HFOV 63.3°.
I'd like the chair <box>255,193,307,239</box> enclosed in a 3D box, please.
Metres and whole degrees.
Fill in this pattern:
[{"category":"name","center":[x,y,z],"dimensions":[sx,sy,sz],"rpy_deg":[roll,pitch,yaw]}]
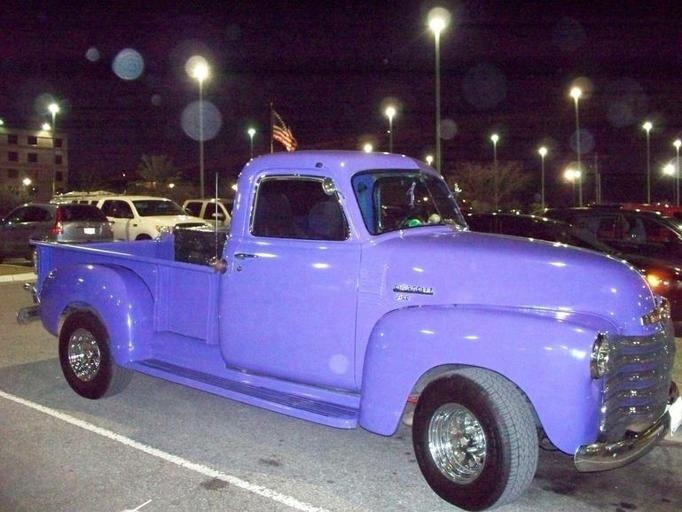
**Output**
[{"category":"chair","center":[-0.631,-0.387,5.947],"dimensions":[0.382,0.665,0.518],"rpy_deg":[2,-2,-5]}]

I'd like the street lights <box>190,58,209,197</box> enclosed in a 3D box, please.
[{"category":"street lights","center":[-6.736,-5.741,25.567],"dimensions":[0.846,6.790,0.958],"rpy_deg":[9,20,9]}]

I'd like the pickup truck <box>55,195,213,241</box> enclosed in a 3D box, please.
[{"category":"pickup truck","center":[-6.838,-1.226,17.987],"dimensions":[4.055,1.825,1.905],"rpy_deg":[3,5,38]}]
